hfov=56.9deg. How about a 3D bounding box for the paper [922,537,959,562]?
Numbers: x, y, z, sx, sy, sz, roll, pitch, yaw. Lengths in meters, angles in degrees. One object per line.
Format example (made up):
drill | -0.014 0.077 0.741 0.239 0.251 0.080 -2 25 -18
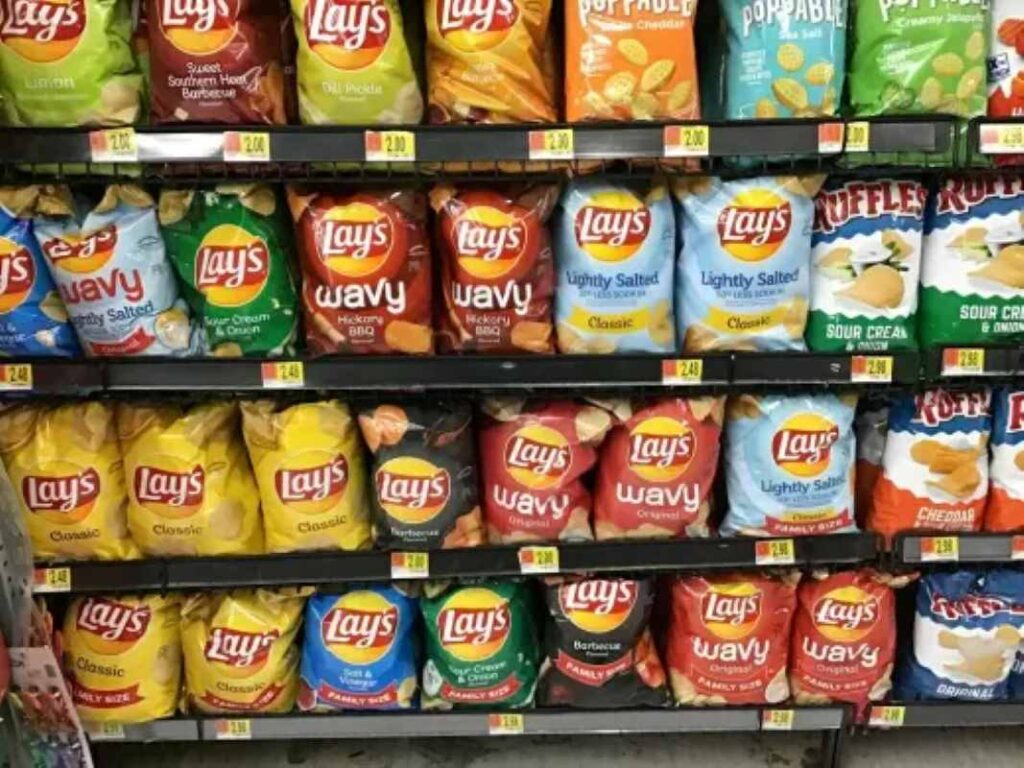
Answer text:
paper | 1.140 0.436 2.516 0.070 0.048 0.010 0 5 -1

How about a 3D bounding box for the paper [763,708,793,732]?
paper | 0.737 0.930 2.621 0.095 0.061 0.050 2 15 0

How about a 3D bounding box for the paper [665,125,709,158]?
paper | 0.416 -0.575 2.242 0.127 0.086 0.069 -2 8 -3

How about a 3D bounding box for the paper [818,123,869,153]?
paper | 0.795 -0.587 2.254 0.133 0.087 0.070 1 1 2

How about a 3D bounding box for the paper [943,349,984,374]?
paper | 1.152 -0.055 2.414 0.115 0.077 0.061 0 0 4
